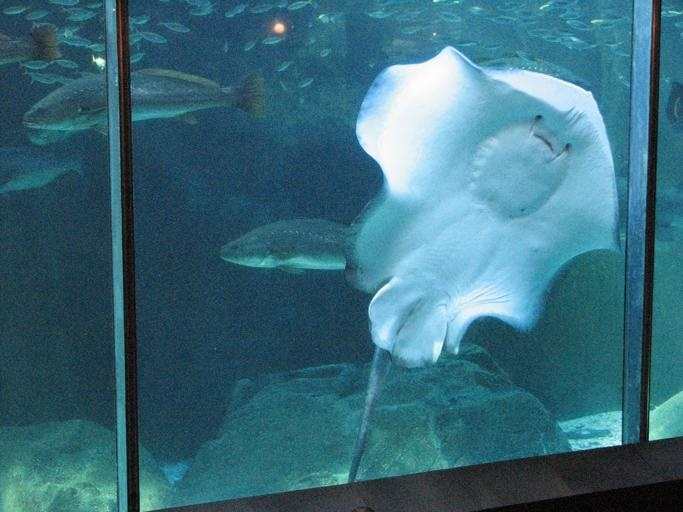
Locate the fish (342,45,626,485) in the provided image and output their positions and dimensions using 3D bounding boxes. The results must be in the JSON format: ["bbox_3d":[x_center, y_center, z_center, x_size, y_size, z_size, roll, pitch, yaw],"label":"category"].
[{"bbox_3d":[0.561,-0.071,4.014,1.441,1.899,0.240,10,0,-8],"label":"fish"}]
